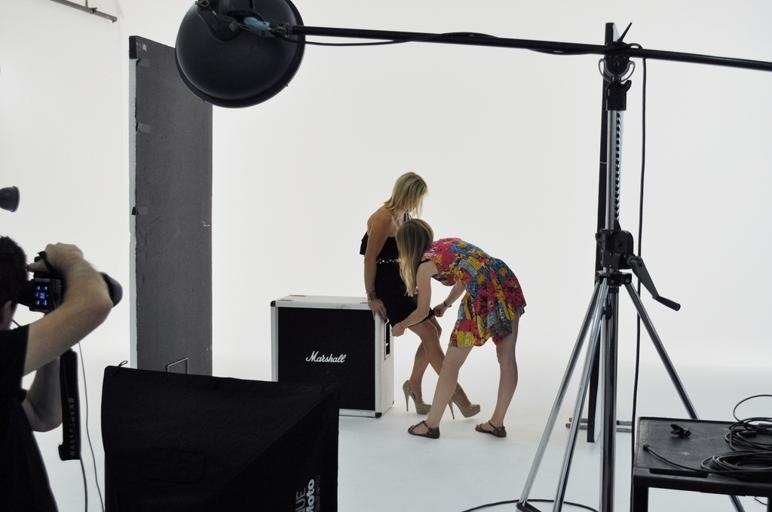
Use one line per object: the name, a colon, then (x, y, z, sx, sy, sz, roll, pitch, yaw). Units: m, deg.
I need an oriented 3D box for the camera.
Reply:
camera: (-1.317, 0.142, 3.190, 0.253, 0.289, 0.113, 14, -12, -12)

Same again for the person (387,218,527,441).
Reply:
person: (0.522, 0.532, 5.737, 0.935, 1.598, 0.757, -2, 2, 15)

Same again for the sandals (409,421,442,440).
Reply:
sandals: (0.274, 1.246, 5.595, 0.207, 0.092, 0.105, 8, 5, 36)

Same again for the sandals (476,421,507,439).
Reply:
sandals: (0.771, 1.246, 5.646, 0.092, 0.077, 0.218, 0, 7, -43)

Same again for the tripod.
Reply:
tripod: (1.149, 0.338, 4.143, 0.848, 2.497, 1.345, 1, 9, 10)
